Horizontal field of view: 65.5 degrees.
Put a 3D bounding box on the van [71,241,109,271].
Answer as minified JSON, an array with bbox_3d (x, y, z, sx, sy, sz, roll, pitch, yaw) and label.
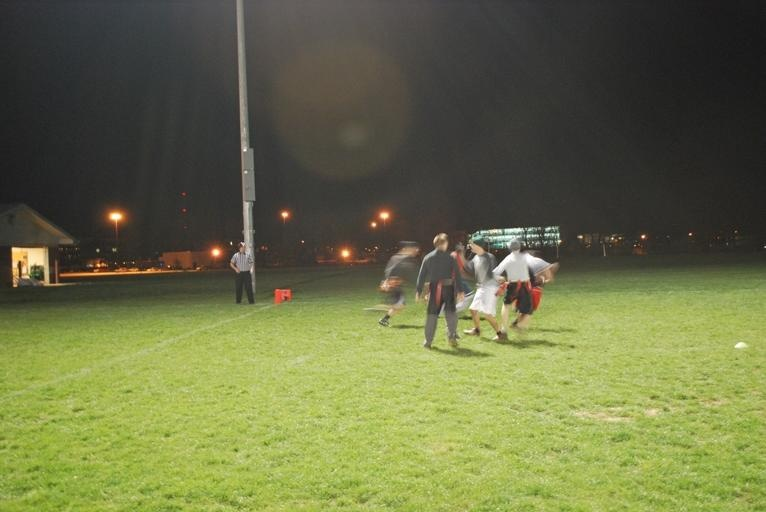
[{"bbox_3d":[-54.327,0.018,109.444,5.514,3.097,2.880,1,3,33],"label":"van"}]

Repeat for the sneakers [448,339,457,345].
[{"bbox_3d":[1.411,1.744,11.969,0.124,0.087,0.107,2,-1,0],"label":"sneakers"}]

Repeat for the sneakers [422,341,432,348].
[{"bbox_3d":[0.892,1.796,12.012,0.129,0.121,0.131,8,-10,-44],"label":"sneakers"}]

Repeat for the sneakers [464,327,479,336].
[{"bbox_3d":[2.004,1.703,13.323,0.360,0.151,0.126,4,-5,39],"label":"sneakers"}]
